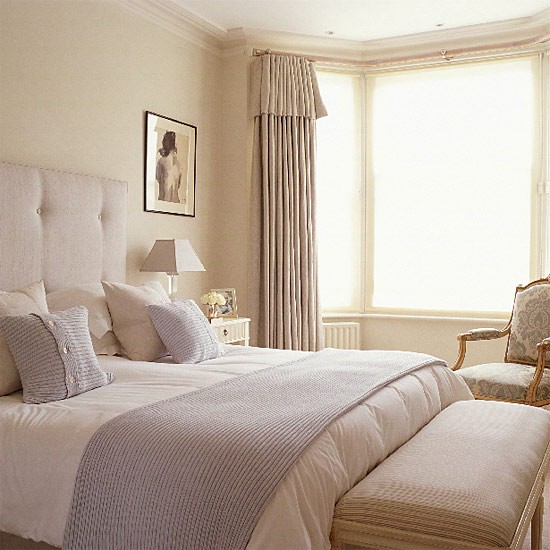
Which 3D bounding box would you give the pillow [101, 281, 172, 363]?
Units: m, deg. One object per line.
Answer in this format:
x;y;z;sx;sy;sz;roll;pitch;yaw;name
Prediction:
-0.906;0.253;2.994;0.556;0.441;0.574;-2;6;-13;pillow

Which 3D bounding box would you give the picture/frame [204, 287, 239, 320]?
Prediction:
-0.433;0.232;4.066;0.289;0.263;0.100;0;-4;-21;picture/frame

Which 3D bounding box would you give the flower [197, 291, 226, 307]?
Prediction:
-0.499;0.195;4.021;0.129;0.082;0.160;2;8;-8;flower

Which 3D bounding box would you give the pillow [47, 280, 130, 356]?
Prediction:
-1.005;0.239;2.756;0.121;0.363;0.400;-23;-9;23;pillow

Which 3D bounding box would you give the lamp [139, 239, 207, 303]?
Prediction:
-0.731;-0.056;3.634;0.442;0.619;0.442;4;8;38;lamp

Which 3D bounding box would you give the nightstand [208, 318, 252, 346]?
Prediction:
-0.327;0.427;3.941;0.224;0.312;0.351;3;5;26;nightstand

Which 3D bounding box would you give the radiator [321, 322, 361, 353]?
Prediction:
0.587;0.563;4.589;0.303;0.205;0.040;0;1;-15;radiator

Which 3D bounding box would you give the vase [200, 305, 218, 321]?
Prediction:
-0.529;0.294;4.034;0.136;0.179;0.132;0;2;7;vase
